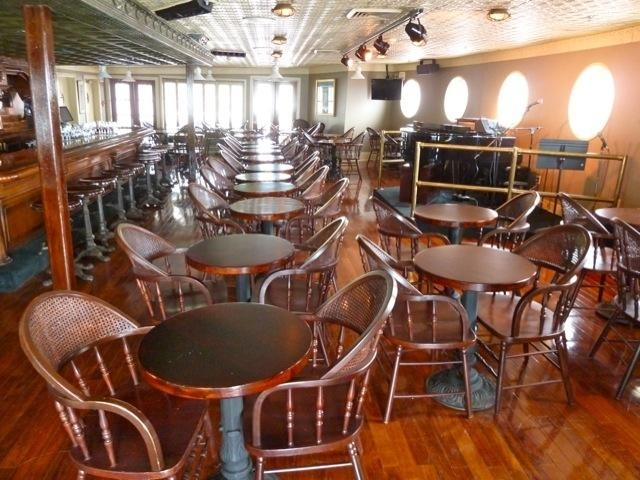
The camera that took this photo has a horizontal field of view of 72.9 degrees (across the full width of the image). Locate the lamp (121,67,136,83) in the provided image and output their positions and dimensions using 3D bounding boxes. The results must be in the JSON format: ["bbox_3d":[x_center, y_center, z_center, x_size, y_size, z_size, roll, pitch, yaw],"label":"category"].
[{"bbox_3d":[-5.499,-4.768,12.405,0.185,0.401,1.634,-6,18,-23],"label":"lamp"}]

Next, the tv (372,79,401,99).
[{"bbox_3d":[1.841,-4.150,11.907,1.064,0.631,0.542,1,13,2],"label":"tv"}]

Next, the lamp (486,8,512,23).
[{"bbox_3d":[2.117,-2.691,5.136,0.218,0.108,0.202,-6,19,-24],"label":"lamp"}]

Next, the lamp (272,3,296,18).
[{"bbox_3d":[-0.438,-2.752,5.112,0.238,0.149,0.201,-1,18,-11],"label":"lamp"}]
